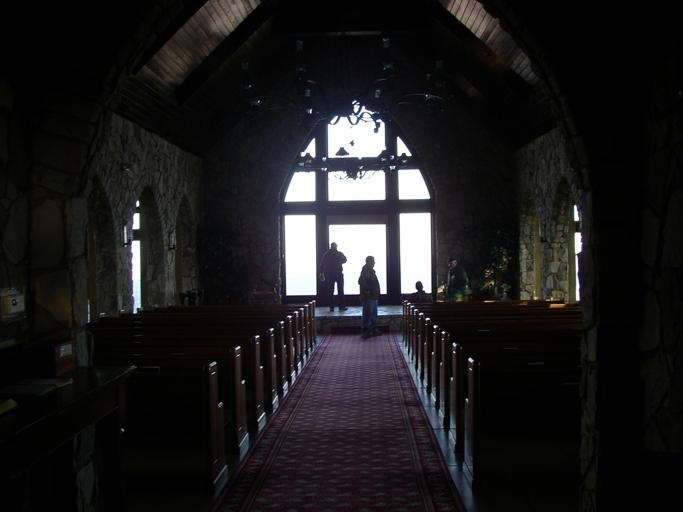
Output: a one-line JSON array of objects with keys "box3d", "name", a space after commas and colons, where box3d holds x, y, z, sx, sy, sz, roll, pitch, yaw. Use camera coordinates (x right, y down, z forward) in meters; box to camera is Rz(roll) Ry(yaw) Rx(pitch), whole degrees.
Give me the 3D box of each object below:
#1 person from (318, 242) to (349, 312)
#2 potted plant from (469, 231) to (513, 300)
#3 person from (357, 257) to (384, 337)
[{"box3d": [-0.201, 0.494, 13.251, 0.565, 1.592, 0.539, 0, 2, -2], "name": "person"}, {"box3d": [3.410, 0.185, 12.650, 1.012, 1.609, 0.648, 0, 2, 18], "name": "potted plant"}, {"box3d": [0.538, 0.817, 11.165, 0.370, 1.637, 0.751, 0, 2, 2], "name": "person"}]
